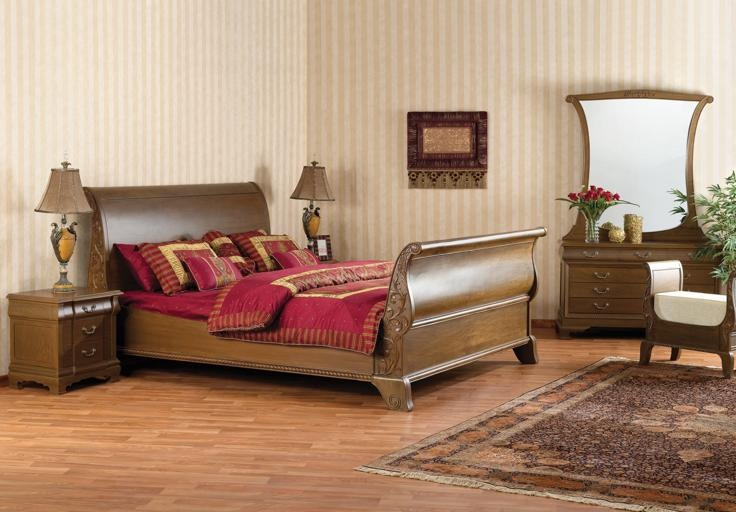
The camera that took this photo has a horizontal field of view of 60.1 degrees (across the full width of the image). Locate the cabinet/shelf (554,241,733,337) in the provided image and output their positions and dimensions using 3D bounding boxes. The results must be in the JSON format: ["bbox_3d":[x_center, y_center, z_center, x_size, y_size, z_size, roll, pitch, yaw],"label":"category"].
[{"bbox_3d":[2.811,0.367,6.918,1.963,0.995,0.699,1,-1,-15],"label":"cabinet/shelf"}]

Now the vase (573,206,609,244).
[{"bbox_3d":[2.406,-0.339,6.915,0.447,0.426,0.481,-2,6,5],"label":"vase"}]

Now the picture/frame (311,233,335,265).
[{"bbox_3d":[-0.508,-0.077,7.012,0.037,0.324,0.404,0,5,40],"label":"picture/frame"}]

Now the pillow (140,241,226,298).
[{"bbox_3d":[-1.600,-0.028,5.465,0.687,0.166,0.670,-3,22,-18],"label":"pillow"}]

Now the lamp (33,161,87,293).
[{"bbox_3d":[-2.350,-0.248,4.917,0.381,0.965,0.562,-7,10,-25],"label":"lamp"}]

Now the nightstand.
[{"bbox_3d":[-2.291,0.546,5.145,0.808,0.821,0.960,2,3,28],"label":"nightstand"}]

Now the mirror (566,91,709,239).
[{"bbox_3d":[3.052,-1.017,7.017,2.100,1.714,0.089,0,3,6],"label":"mirror"}]

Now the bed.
[{"bbox_3d":[-0.561,0.294,5.236,2.935,1.194,2.118,3,7,30],"label":"bed"}]

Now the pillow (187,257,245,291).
[{"bbox_3d":[-1.287,0.119,5.339,0.251,0.196,0.610,22,13,22],"label":"pillow"}]
